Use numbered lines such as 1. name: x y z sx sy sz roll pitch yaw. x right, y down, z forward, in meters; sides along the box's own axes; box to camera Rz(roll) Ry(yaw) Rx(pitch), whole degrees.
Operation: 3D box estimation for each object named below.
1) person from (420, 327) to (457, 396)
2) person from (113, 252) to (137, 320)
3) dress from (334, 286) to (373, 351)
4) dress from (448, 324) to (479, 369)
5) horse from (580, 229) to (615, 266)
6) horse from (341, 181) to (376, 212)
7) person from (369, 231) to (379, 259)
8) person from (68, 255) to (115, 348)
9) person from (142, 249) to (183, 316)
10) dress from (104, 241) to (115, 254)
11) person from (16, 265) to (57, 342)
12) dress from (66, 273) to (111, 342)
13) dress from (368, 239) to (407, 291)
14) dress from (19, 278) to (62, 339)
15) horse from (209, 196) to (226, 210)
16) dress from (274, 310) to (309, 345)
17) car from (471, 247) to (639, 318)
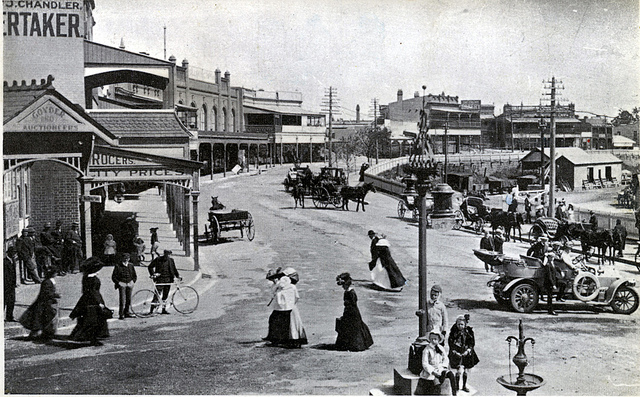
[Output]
1. person: 4.217 5.871 32.953 1.249 2.350 0.442 1 3 6
2. person: -8.105 3.626 37.919 0.876 2.585 1.201 0 3 -11
3. dress: 1.301 4.644 35.651 1.369 2.383 1.236 1 0 9
4. dress: 5.230 5.308 33.773 1.065 1.652 0.941 1 0 2
5. horse: 14.077 2.292 46.890 0.738 1.715 2.546 1 3 -31
6. horse: 2.311 -0.088 57.982 2.857 1.947 0.698 -1 -12 41
7. person: 2.396 2.046 40.896 0.429 1.246 1.096 1 3 3
8. person: -8.870 4.029 35.472 1.526 3.520 0.798 0 3 -13
9. person: -6.564 3.462 38.099 1.201 2.730 0.730 0 3 -10
10. dress: -9.667 2.238 42.108 0.618 0.648 0.364 2 9 -7
11. person: -10.814 4.096 35.872 1.329 3.033 0.665 2 3 22
12. dress: -8.900 4.171 35.367 1.356 2.655 0.511 0 3 -13
13. dress: 2.953 2.803 41.099 1.283 1.908 1.819 -15 5 -25
14. dress: -10.851 4.275 35.865 1.431 2.474 0.744 1 3 0
15. horse: -5.425 0.259 48.348 0.686 0.722 0.673 -10 11 -14
16. dress: -1.188 5.026 35.649 1.422 1.483 0.876 1 7 12
17. car: 10.061 3.464 39.318 5.936 2.214 3.176 -1 4 -3
